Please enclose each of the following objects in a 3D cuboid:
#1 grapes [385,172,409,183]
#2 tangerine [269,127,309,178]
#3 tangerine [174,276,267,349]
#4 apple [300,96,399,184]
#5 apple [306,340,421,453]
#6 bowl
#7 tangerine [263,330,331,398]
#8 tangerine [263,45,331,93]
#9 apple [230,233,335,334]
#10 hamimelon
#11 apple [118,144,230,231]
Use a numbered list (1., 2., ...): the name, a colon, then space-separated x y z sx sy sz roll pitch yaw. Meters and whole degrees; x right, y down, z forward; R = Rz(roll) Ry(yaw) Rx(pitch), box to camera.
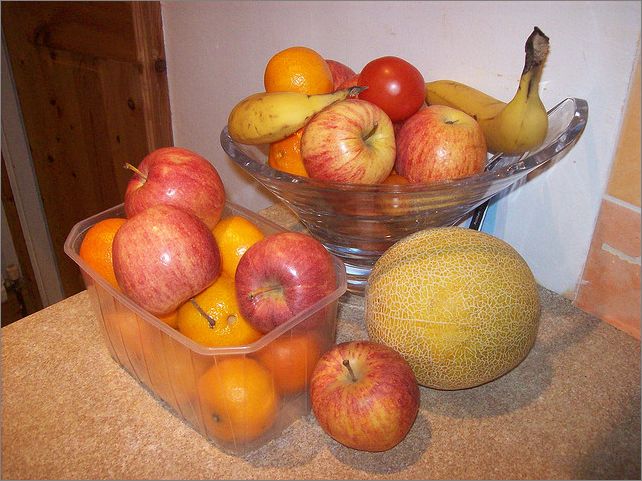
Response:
1. grapes: 0.116 -0.095 0.836 0.020 0.016 0.026 0 24 -8
2. tangerine: -0.048 -0.140 0.880 0.066 0.079 0.073 -2 18 -1
3. tangerine: -0.152 0.107 0.798 0.087 0.090 0.089 -39 5 -4
4. apple: 0.043 -0.142 0.804 0.145 0.117 0.065 -2 27 -4
5. apple: 0.057 0.211 0.725 0.144 0.108 0.097 0 28 0
6. bowl: 0.141 -0.100 0.916 0.425 0.319 0.488 -18 29 -37
7. tangerine: -0.039 0.165 0.782 0.064 0.085 0.094 -19 32 -33
8. tangerine: -0.047 -0.315 0.929 0.111 0.090 0.121 -10 26 -24
9. apple: -0.047 0.059 0.794 0.115 0.143 0.129 13 11 24
10. hamimelon: 0.195 0.103 0.863 0.222 0.226 0.254 6 29 9
11. apple: -0.227 0.021 0.764 0.115 0.119 0.126 -10 65 -13
